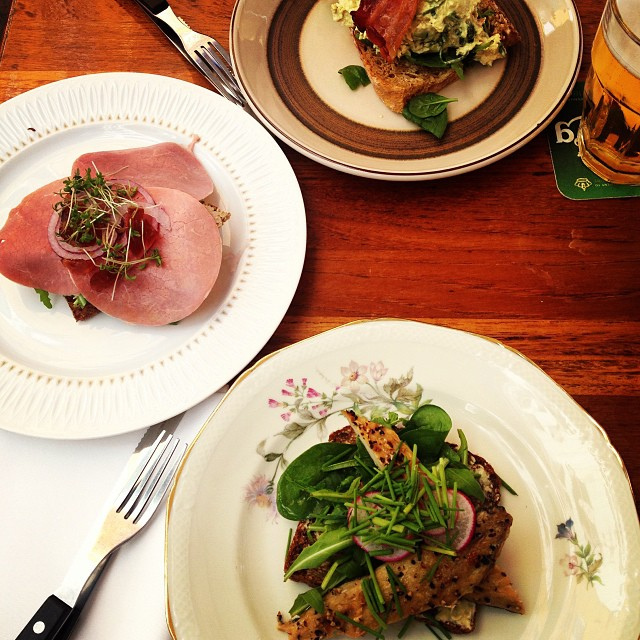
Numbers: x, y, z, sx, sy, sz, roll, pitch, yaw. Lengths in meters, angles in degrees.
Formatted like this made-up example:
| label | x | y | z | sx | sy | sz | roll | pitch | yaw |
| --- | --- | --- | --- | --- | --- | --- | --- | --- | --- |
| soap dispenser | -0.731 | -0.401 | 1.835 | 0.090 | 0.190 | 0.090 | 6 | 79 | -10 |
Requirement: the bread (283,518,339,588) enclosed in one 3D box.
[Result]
| label | x | y | z | sx | sy | sz | roll | pitch | yaw |
| --- | --- | --- | --- | --- | --- | --- | --- | --- | --- |
| bread | -0.016 | 0.465 | 1.242 | 0.105 | 0.101 | 0.134 | 18 | 77 | 9 |

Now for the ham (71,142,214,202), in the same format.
| label | x | y | z | sx | sy | sz | roll | pitch | yaw |
| --- | --- | --- | --- | --- | --- | --- | --- | --- | --- |
| ham | -0.454 | -0.388 | 1.637 | 0.298 | 0.052 | 0.164 | -1 | 71 | -14 |

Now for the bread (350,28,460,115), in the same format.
| label | x | y | z | sx | sy | sz | roll | pitch | yaw |
| --- | --- | --- | --- | --- | --- | --- | --- | --- | --- |
| bread | 0.209 | -0.672 | 1.651 | 0.192 | 0.052 | 0.203 | 45 | 54 | 13 |

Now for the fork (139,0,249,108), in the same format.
| label | x | y | z | sx | sy | sz | roll | pitch | yaw |
| --- | --- | --- | --- | --- | --- | --- | --- | --- | --- |
| fork | -0.366 | -0.749 | 1.791 | 0.081 | 0.076 | 0.519 | -45 | 72 | 4 |

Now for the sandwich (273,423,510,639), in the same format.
| label | x | y | z | sx | sy | sz | roll | pitch | yaw |
| --- | --- | --- | --- | --- | --- | --- | --- | --- | --- |
| sandwich | 0.137 | 0.415 | 1.249 | 0.492 | 0.177 | 0.418 | 4 | 74 | 5 |

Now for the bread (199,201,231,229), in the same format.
| label | x | y | z | sx | sy | sz | roll | pitch | yaw |
| --- | --- | --- | --- | --- | --- | --- | --- | --- | --- |
| bread | -0.264 | -0.271 | 1.609 | 0.017 | 0.072 | 0.065 | -57 | 29 | 23 |

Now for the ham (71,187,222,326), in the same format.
| label | x | y | z | sx | sy | sz | roll | pitch | yaw |
| --- | --- | --- | --- | --- | --- | --- | --- | --- | --- |
| ham | -0.335 | -0.126 | 1.598 | 0.486 | 0.273 | 0.347 | -2 | 45 | -1 |
